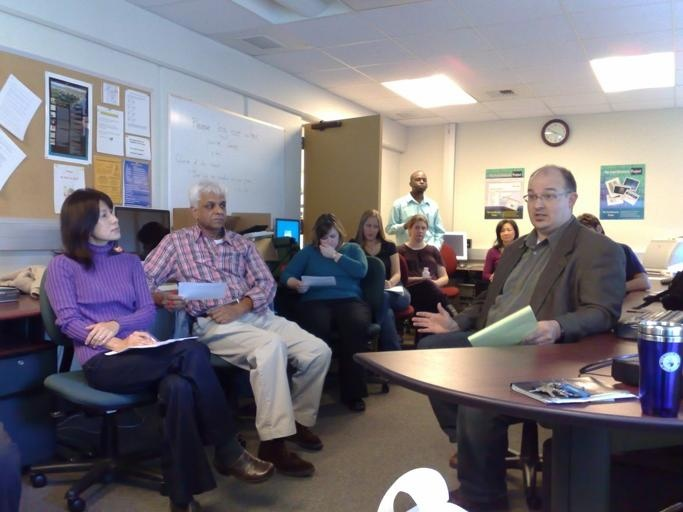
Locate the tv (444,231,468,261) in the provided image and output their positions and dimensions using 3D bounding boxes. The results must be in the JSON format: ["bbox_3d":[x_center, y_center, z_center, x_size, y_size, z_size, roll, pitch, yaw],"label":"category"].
[{"bbox_3d":[1.424,-0.129,6.430,0.365,0.382,0.038,3,-6,10],"label":"tv"}]

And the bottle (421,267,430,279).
[{"bbox_3d":[0.837,0.167,5.069,0.092,0.148,0.083,-2,5,-44],"label":"bottle"}]

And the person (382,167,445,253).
[{"bbox_3d":[0.901,-0.184,6.100,0.707,1.660,0.519,1,-1,-6],"label":"person"}]

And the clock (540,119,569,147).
[{"bbox_3d":[2.906,-1.687,6.951,0.368,0.402,0.053,3,1,38],"label":"clock"}]

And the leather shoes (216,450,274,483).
[{"bbox_3d":[-0.459,1.024,2.554,0.334,0.158,0.142,1,2,13],"label":"leather shoes"}]

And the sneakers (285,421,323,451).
[{"bbox_3d":[-0.243,1.055,3.055,0.271,0.201,0.100,0,0,21],"label":"sneakers"}]

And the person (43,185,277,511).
[{"bbox_3d":[-0.932,0.405,2.495,0.988,1.429,0.604,7,9,39],"label":"person"}]

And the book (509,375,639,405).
[{"bbox_3d":[0.672,0.388,1.501,0.342,0.030,0.153,0,7,-11],"label":"book"}]
